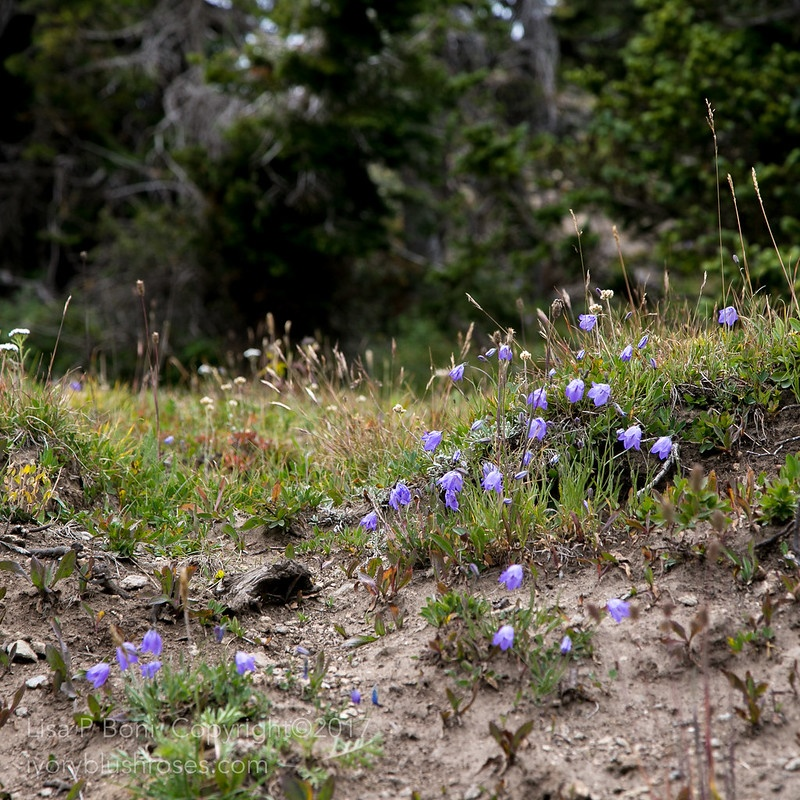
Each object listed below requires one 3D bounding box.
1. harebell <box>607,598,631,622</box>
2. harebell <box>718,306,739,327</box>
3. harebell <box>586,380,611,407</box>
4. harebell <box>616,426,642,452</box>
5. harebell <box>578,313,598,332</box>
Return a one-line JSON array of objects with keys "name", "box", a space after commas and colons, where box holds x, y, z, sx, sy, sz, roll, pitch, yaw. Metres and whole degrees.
[{"name": "harebell", "box": [1.098, 1.057, 6.964, 0.114, 0.157, 0.054, -2, -22, -8]}, {"name": "harebell", "box": [1.854, -0.459, 7.778, 0.103, 0.126, 0.046, 9, -2, 27]}, {"name": "harebell", "box": [1.117, -0.013, 7.694, 0.132, 0.168, 0.338, -5, 7, 9]}, {"name": "harebell", "box": [1.254, 0.184, 7.495, 0.083, 0.176, 0.088, 11, -33, 9]}, {"name": "harebell", "box": [1.080, -0.445, 7.805, 0.091, 0.109, 0.033, 15, -21, 26]}]
